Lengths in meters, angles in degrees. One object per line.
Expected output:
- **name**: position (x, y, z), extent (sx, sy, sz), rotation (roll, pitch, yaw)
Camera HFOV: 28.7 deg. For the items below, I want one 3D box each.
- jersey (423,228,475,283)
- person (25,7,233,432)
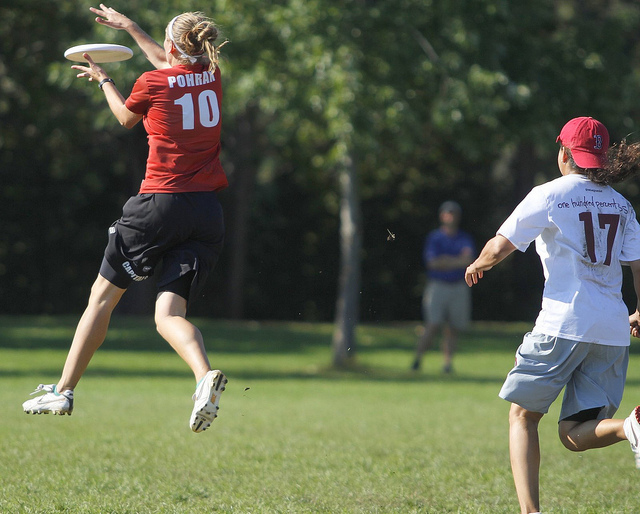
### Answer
- **jersey**: position (1.666, -0.025, 16.082), extent (0.601, 0.637, 0.449), rotation (5, 5, 6)
- **person**: position (-1.218, -0.316, 9.245), extent (1.412, 3.053, 0.929), rotation (6, 5, 8)
